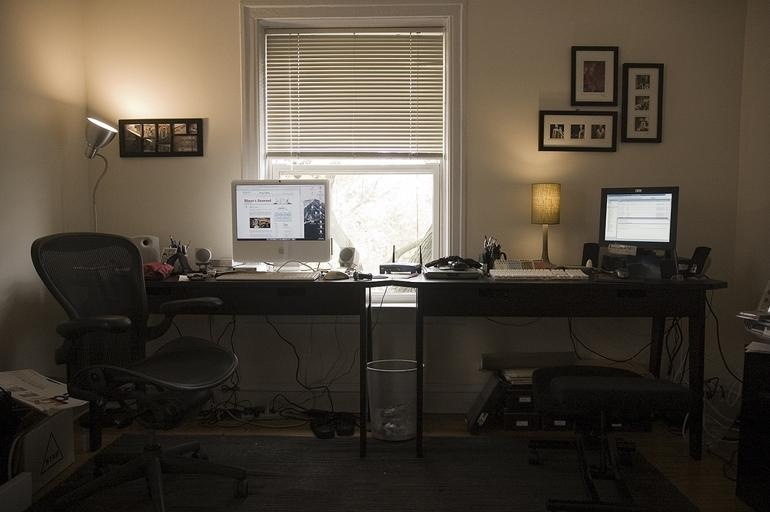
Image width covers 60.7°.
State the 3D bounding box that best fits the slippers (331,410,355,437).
[{"bbox_3d":[-0.276,1.130,4.421,0.141,0.131,0.108,3,-4,-3],"label":"slippers"}]

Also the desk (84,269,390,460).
[{"bbox_3d":[-1.100,0.792,5.122,0.897,1.479,2.439,-18,17,-39],"label":"desk"}]

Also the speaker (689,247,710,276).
[{"bbox_3d":[2.047,0.032,4.314,0.050,0.213,0.112,22,2,-32],"label":"speaker"}]

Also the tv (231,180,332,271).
[{"bbox_3d":[-0.712,-0.232,4.505,0.650,0.542,0.209,0,-1,1],"label":"tv"}]

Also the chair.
[{"bbox_3d":[-1.405,0.654,3.805,1.084,1.552,0.641,2,9,10],"label":"chair"}]

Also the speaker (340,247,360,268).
[{"bbox_3d":[-0.248,0.011,4.622,0.109,0.105,0.152,1,-2,3],"label":"speaker"}]

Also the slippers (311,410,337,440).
[{"bbox_3d":[-0.417,1.135,4.438,0.122,0.064,0.163,1,17,0],"label":"slippers"}]

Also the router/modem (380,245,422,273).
[{"bbox_3d":[0.111,0.022,4.491,0.192,0.139,0.189,-1,4,3],"label":"router/modem"}]

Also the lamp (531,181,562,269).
[{"bbox_3d":[1.098,-0.223,4.583,0.184,0.554,0.250,4,10,22],"label":"lamp"}]

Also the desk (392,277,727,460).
[{"bbox_3d":[1.302,0.388,4.890,1.996,1.154,1.501,1,24,19],"label":"desk"}]

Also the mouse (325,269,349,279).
[{"bbox_3d":[-0.312,0.120,4.277,0.105,0.034,0.068,-2,5,-15],"label":"mouse"}]

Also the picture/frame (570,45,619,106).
[{"bbox_3d":[1.477,-1.295,4.660,0.434,0.508,0.035,0,3,0],"label":"picture/frame"}]

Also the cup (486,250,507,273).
[{"bbox_3d":[0.735,0.034,4.537,0.181,0.181,0.100,3,-1,0],"label":"cup"}]

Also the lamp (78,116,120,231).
[{"bbox_3d":[-1.988,-0.581,4.688,0.226,0.814,0.337,-4,10,-23],"label":"lamp"}]

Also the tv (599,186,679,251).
[{"bbox_3d":[1.690,-0.248,4.378,0.434,0.361,0.222,3,2,34],"label":"tv"}]

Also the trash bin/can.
[{"bbox_3d":[0.056,0.967,4.427,0.460,0.491,0.466,-1,-3,4],"label":"trash bin/can"}]
